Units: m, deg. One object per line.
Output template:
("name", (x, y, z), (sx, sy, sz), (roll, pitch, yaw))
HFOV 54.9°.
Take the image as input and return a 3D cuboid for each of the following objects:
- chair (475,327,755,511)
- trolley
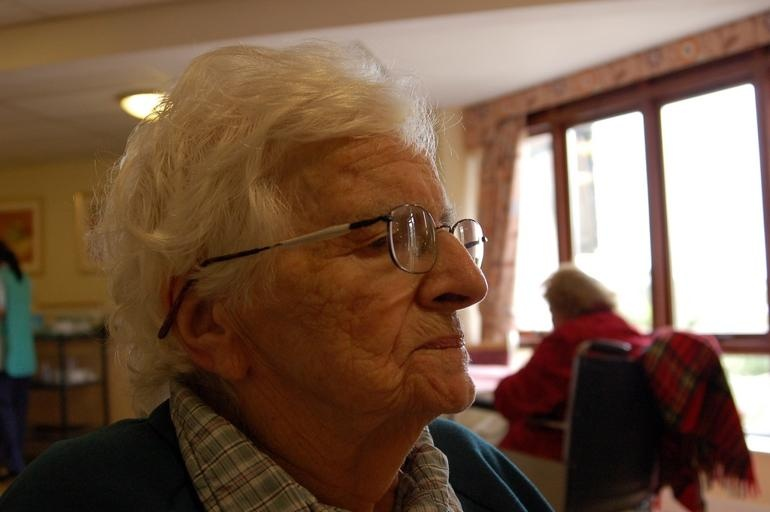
("chair", (1.253, 0.756, 4.010), (0.782, 0.960, 1.009), (0, 0, -37))
("trolley", (-2.982, 1.204, 6.949), (0.768, 1.080, 0.780), (6, -23, -25))
